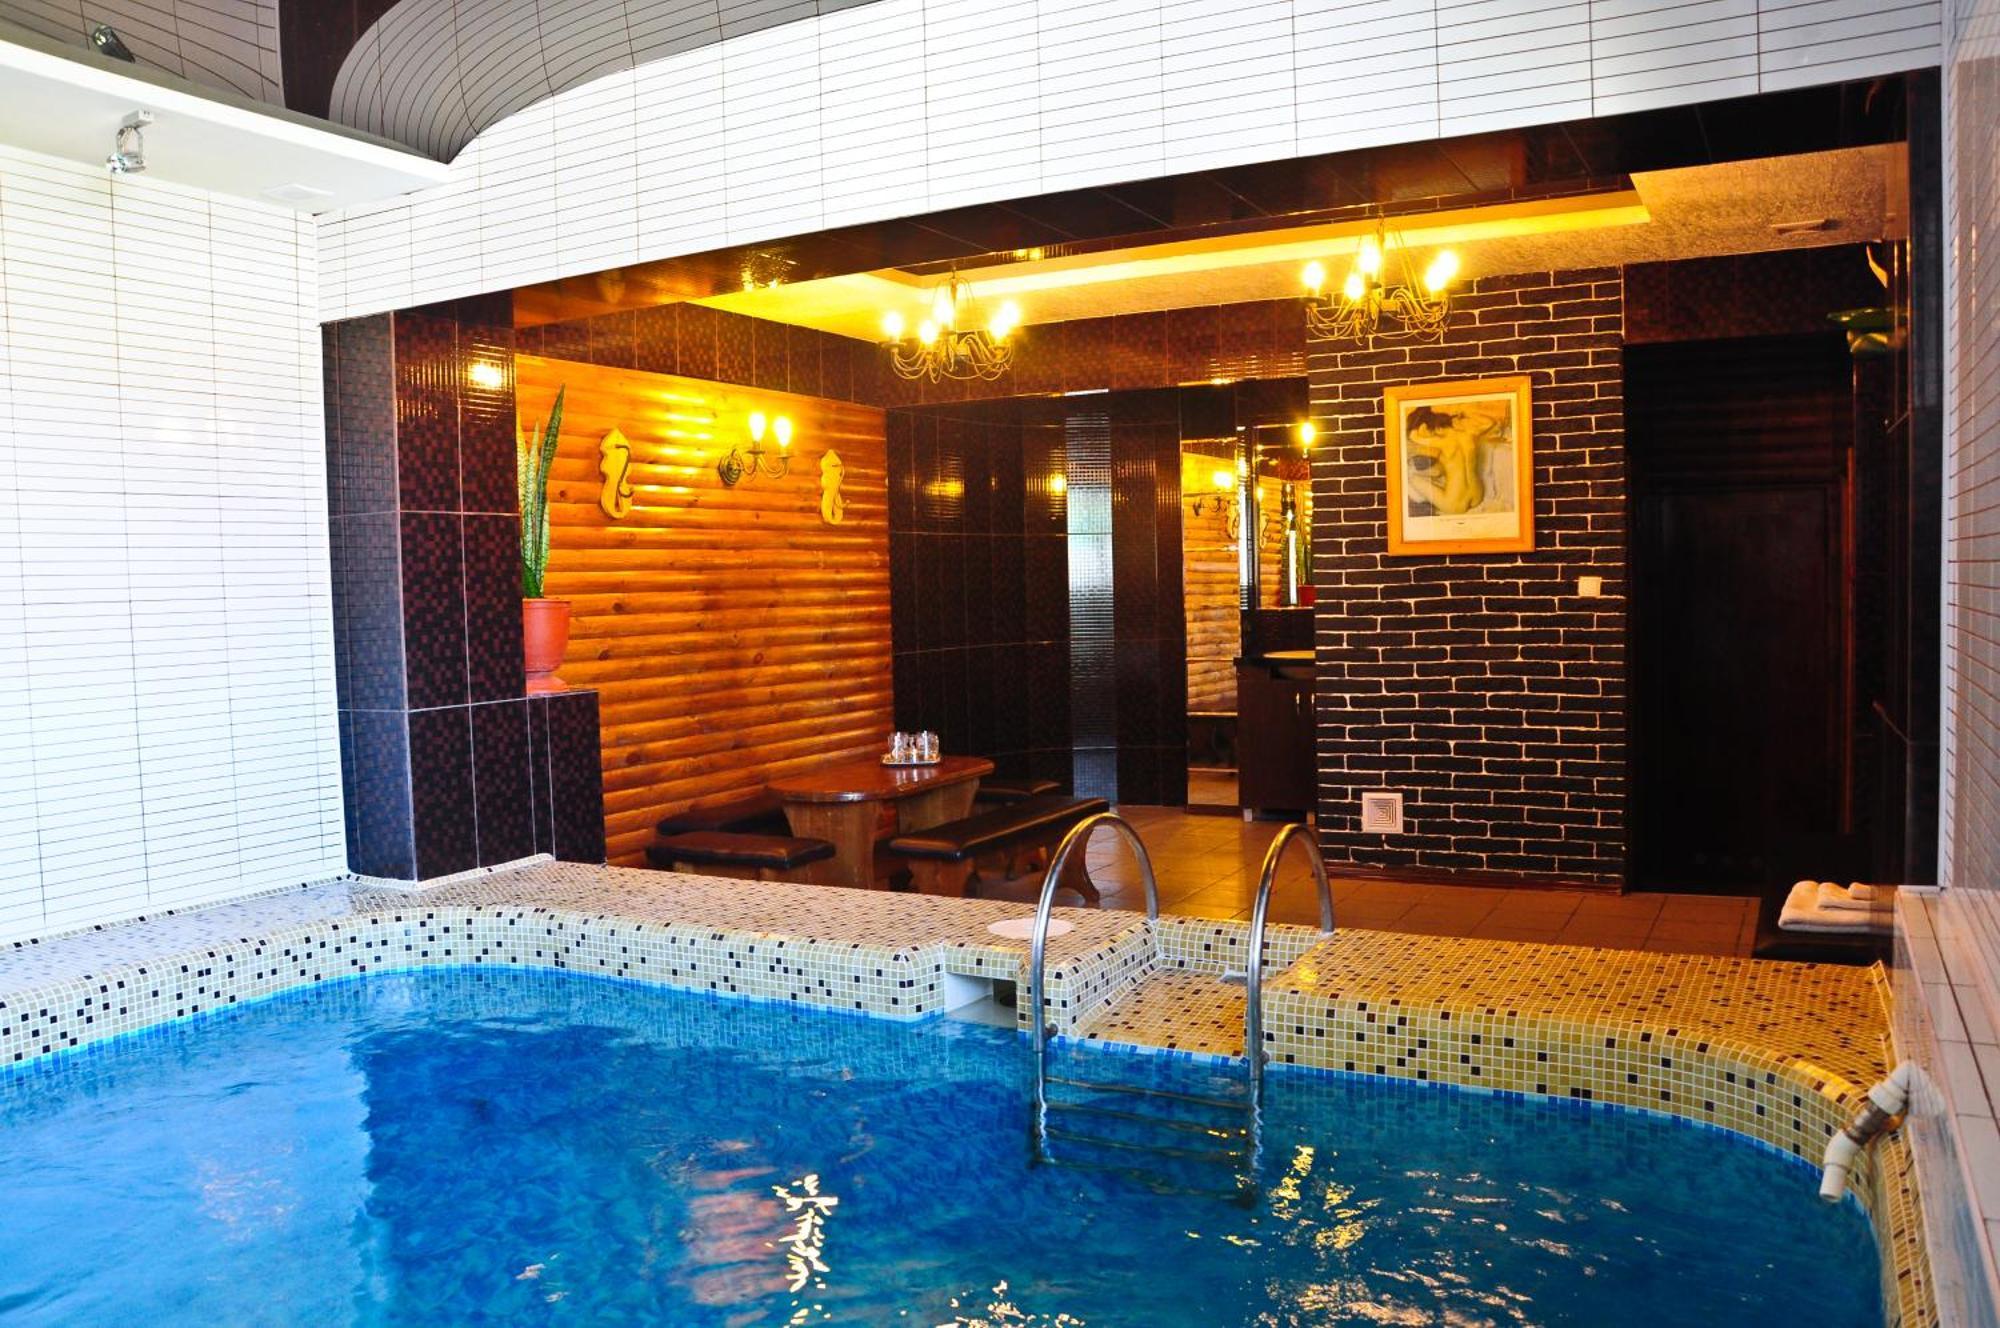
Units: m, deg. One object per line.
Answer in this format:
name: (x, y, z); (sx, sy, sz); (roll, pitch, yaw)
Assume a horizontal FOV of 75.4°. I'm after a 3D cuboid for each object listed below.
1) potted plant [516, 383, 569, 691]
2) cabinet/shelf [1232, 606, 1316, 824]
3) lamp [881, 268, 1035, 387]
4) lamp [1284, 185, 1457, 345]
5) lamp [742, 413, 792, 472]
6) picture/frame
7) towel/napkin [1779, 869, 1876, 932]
potted plant: (-2.654, -0.710, 7.538); (0.330, 1.646, 0.915); (-6, 11, -17)
cabinet/shelf: (2.285, 0.423, 10.717); (0.603, 1.711, 0.680); (-1, 10, 9)
lamp: (-0.338, -2.356, 8.891); (0.832, 0.846, 0.793); (-3, -7, 16)
lamp: (2.193, -2.377, 7.881); (0.951, 1.112, 0.948); (-12, 20, -37)
lamp: (-1.670, -1.638, 9.546); (0.226, 0.407, 0.582); (-1, 10, 10)
picture/frame: (2.964, -1.261, 8.254); (1.307, 1.424, 0.110); (0, 2, 26)
towel/napkin: (3.893, 1.135, 6.071); (0.500, 0.114, 0.498); (2, 9, 24)
